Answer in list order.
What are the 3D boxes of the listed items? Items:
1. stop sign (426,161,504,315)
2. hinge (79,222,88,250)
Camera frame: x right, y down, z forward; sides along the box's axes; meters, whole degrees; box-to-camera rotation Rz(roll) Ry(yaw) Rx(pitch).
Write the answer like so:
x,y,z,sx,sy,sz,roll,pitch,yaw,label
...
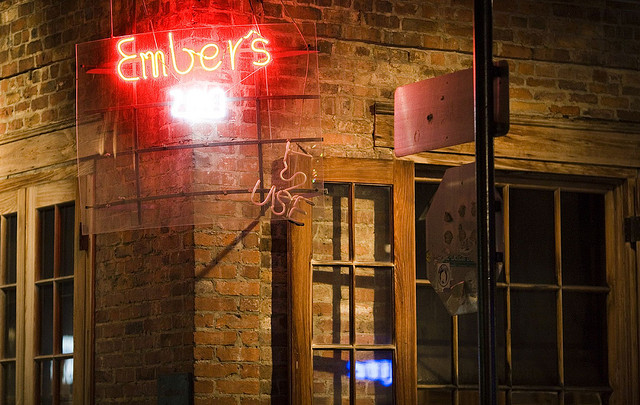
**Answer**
x,y,z,sx,sy,sz,roll,pitch,yaw,label
0.843,0.243,7.871,0.328,0.870,0.519,-4,-18,4,stop sign
-1.799,0.309,9.272,0.065,0.116,0.056,-1,-18,-4,hinge
